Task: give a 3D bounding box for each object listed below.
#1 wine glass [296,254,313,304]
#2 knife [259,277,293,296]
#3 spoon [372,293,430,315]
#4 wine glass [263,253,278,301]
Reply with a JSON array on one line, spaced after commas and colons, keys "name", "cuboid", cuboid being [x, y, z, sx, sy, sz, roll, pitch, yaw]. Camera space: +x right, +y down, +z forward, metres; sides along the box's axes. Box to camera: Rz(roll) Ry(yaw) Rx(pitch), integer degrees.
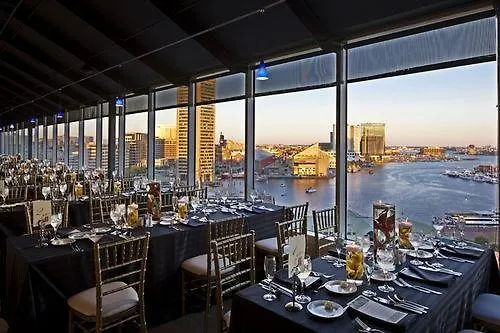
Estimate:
[{"name": "wine glass", "cuboid": [0.532, 1.079, 3.363, 0.149, 0.424, 0.335, -2, 2, 11]}, {"name": "knife", "cuboid": [0.263, 1.183, 3.402, 0.115, 0.053, 0.418, -7, 6, -33]}, {"name": "spoon", "cuboid": [1.436, 1.293, 3.197, 0.322, 0.077, 0.182, 1, 2, 41]}, {"name": "wine glass", "cuboid": [0.193, 1.072, 3.384, 0.129, 0.410, 0.300, -2, 2, 1]}]
